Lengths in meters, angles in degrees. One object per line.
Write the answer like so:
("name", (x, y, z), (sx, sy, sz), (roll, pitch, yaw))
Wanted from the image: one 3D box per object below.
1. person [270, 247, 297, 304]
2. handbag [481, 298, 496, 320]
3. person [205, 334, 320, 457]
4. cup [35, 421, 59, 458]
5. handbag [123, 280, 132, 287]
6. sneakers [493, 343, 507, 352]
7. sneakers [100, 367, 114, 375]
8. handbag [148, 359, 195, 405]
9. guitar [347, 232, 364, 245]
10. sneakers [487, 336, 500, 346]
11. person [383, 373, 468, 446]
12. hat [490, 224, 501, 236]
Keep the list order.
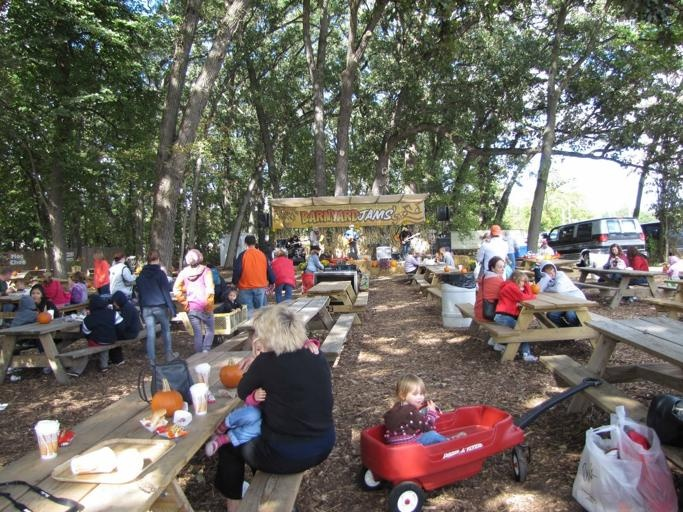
("person", (-1.355, 0.535, 11.043), (0.523, 1.512, 0.524), (3, -15, -19))
("handbag", (2.417, 0.848, 7.842), (0.294, 0.330, 0.122), (6, 10, 37))
("person", (-0.956, 1.334, 4.561), (0.731, 0.688, 1.187), (-3, 21, 26))
("cup", (-2.440, 1.480, 3.972), (0.164, 0.313, 0.214), (-6, 7, -34))
("handbag", (-4.025, 0.504, 8.998), (0.101, 0.150, 0.137), (0, 3, -12))
("sneakers", (2.597, 1.475, 7.845), (0.207, 0.082, 0.217), (1, -1, 6))
("sneakers", (-3.908, 1.869, 7.916), (0.119, 0.048, 0.142), (6, 5, -9))
("handbag", (-1.637, 1.206, 4.585), (0.408, 0.400, 0.221), (0, -4, -32))
("guitar", (0.623, -0.741, 19.220), (0.731, 0.452, 0.341), (-5, 7, -7))
("sneakers", (2.536, 1.434, 8.112), (0.237, 0.118, 0.236), (5, -6, -39))
("person", (0.776, 1.573, 4.868), (0.730, 0.720, 0.481), (-3, -3, 0))
("hat", (3.398, -0.554, 10.569), (0.259, 0.141, 0.374), (-12, 8, 27))
